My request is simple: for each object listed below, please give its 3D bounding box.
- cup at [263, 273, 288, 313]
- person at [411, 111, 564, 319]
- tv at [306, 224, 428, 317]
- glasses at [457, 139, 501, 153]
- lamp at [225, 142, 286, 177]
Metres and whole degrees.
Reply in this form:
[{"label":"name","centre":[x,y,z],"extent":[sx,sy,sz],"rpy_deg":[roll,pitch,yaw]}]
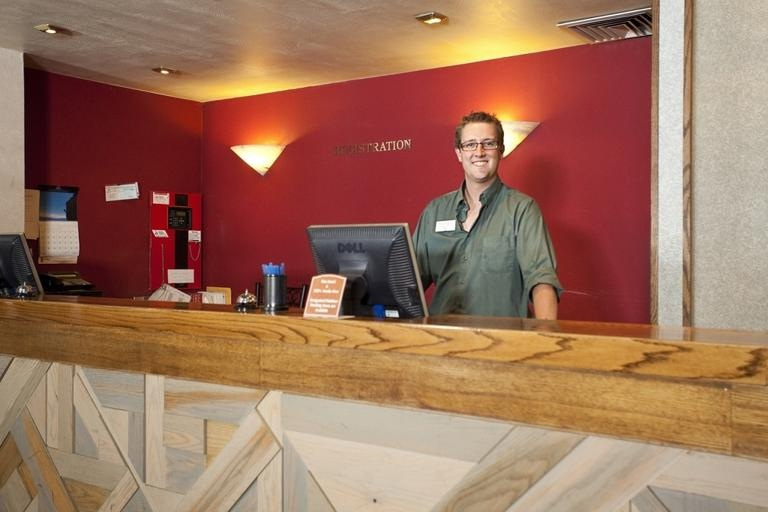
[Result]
[{"label":"cup","centre":[-0.465,0.169,2.536],"extent":[0.144,0.160,0.144],"rpy_deg":[2,-1,0]},{"label":"person","centre":[0.573,-0.244,3.124],"extent":[0.410,1.151,0.973],"rpy_deg":[-4,3,-41]},{"label":"tv","centre":[-0.074,0.063,2.421],"extent":[0.474,0.322,0.179],"rpy_deg":[0,9,32]},{"label":"glasses","centre":[0.532,-0.619,3.175],"extent":[0.214,0.057,0.070],"rpy_deg":[-2,2,10]},{"label":"lamp","centre":[-1.365,-1.063,6.180],"extent":[0.699,0.349,0.184],"rpy_deg":[-1,3,35]}]
